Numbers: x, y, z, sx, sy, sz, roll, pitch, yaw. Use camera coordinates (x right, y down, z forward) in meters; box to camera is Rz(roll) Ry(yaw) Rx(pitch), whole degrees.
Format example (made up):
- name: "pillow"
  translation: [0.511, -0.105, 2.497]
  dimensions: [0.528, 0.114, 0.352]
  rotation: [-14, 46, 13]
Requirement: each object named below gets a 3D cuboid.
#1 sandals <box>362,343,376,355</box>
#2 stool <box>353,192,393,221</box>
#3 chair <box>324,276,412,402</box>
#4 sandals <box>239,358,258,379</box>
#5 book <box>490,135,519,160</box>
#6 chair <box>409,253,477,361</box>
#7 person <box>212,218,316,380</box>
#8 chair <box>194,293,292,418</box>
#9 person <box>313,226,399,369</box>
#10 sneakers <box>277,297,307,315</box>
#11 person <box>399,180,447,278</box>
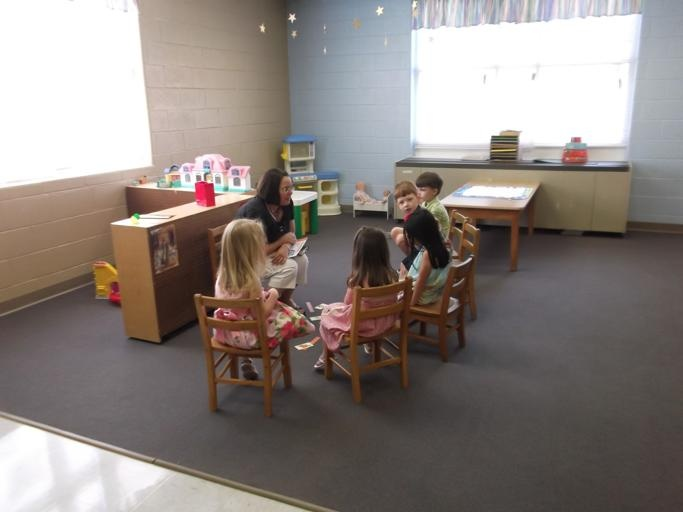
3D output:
- name: "sandals"
  translation: [0.188, 0.659, 3.446]
  dimensions: [0.080, 0.108, 0.044]
  rotation: [4, -12, 6]
- name: "stool"
  translation: [0.460, -0.761, 7.213]
  dimensions: [0.606, 0.321, 0.371]
  rotation: [1, 21, 9]
- name: "chair"
  translation: [0.170, 0.474, 3.167]
  dimensions: [0.527, 0.737, 0.553]
  rotation: [11, 16, 40]
- name: "sandals"
  translation: [-0.626, 0.726, 3.221]
  dimensions: [0.085, 0.164, 0.058]
  rotation: [-12, -4, -5]
- name: "book"
  translation: [2.153, -1.429, 6.347]
  dimensions: [0.314, 0.325, 0.325]
  rotation: [4, 12, 16]
- name: "chair"
  translation: [0.676, 0.339, 3.478]
  dimensions: [0.449, 0.685, 0.451]
  rotation: [-10, 16, -34]
- name: "person"
  translation: [-0.509, 0.259, 3.163]
  dimensions: [0.617, 0.983, 0.600]
  rotation: [-2, 11, -16]
- name: "chair"
  translation: [-0.601, 0.549, 3.063]
  dimensions: [0.612, 0.787, 0.604]
  rotation: [-12, 17, -38]
- name: "person"
  translation: [0.067, 0.335, 3.081]
  dimensions: [0.577, 0.994, 0.404]
  rotation: [0, 20, 6]
- name: "sneakers"
  translation: [-0.375, 0.371, 3.595]
  dimensions: [0.152, 0.158, 0.052]
  rotation: [32, 59, 0]
- name: "person"
  translation: [0.698, -0.320, 4.157]
  dimensions: [0.424, 0.774, 0.345]
  rotation: [2, -9, -13]
